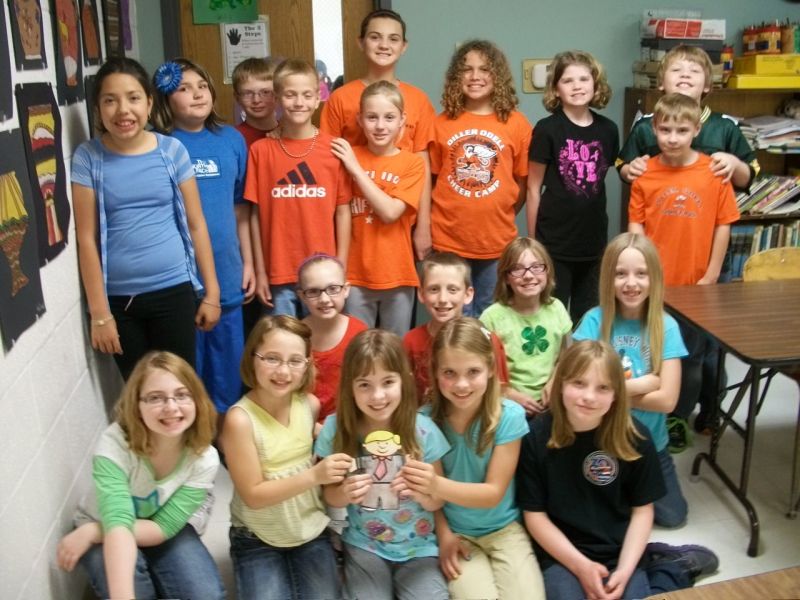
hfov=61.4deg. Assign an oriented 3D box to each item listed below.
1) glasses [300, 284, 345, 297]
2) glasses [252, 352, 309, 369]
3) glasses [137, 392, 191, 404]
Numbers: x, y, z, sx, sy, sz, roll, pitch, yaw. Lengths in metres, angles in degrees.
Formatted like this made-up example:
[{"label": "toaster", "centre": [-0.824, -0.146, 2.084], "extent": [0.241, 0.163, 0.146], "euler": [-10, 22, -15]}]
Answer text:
[{"label": "glasses", "centre": [-0.309, -0.035, 2.685], "extent": [0.169, 0.050, 0.051], "euler": [-2, 21, -1]}, {"label": "glasses", "centre": [-0.401, 0.204, 2.252], "extent": [0.168, 0.055, 0.057], "euler": [-3, 21, -4]}, {"label": "glasses", "centre": [-0.727, 0.305, 2.094], "extent": [0.145, 0.040, 0.033], "euler": [-6, 22, -11]}]
